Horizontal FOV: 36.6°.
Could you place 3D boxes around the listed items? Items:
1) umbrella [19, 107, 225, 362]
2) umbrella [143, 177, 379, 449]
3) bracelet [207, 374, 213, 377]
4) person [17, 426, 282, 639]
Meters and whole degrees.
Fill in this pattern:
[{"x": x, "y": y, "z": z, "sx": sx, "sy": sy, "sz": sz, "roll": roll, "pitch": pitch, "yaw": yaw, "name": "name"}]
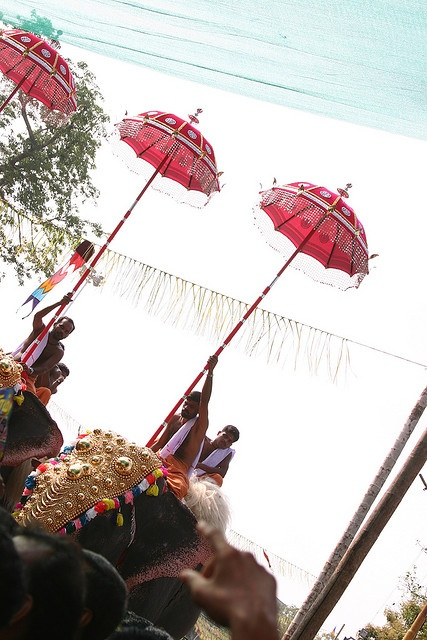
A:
[{"x": -0.721, "y": -0.595, "z": 4.084, "sx": 0.809, "sy": 1.231, "sz": 0.924, "roll": 41, "pitch": -30, "yaw": -8, "name": "umbrella"}, {"x": 0.454, "y": -0.275, "z": 4.910, "sx": 0.761, "sy": 0.840, "sz": 1.779, "roll": 36, "pitch": -48, "yaw": -2, "name": "umbrella"}, {"x": -0.015, "y": 0.295, "z": 3.396, "sx": 0.021, "sy": 0.023, "sz": 0.023, "roll": 8, "pitch": -2, "yaw": -13, "name": "bracelet"}, {"x": -0.313, "y": 0.917, "z": 2.562, "sx": 0.426, "sy": 0.765, "sz": 1.092, "roll": -29, "pitch": -60, "yaw": 38, "name": "person"}]
